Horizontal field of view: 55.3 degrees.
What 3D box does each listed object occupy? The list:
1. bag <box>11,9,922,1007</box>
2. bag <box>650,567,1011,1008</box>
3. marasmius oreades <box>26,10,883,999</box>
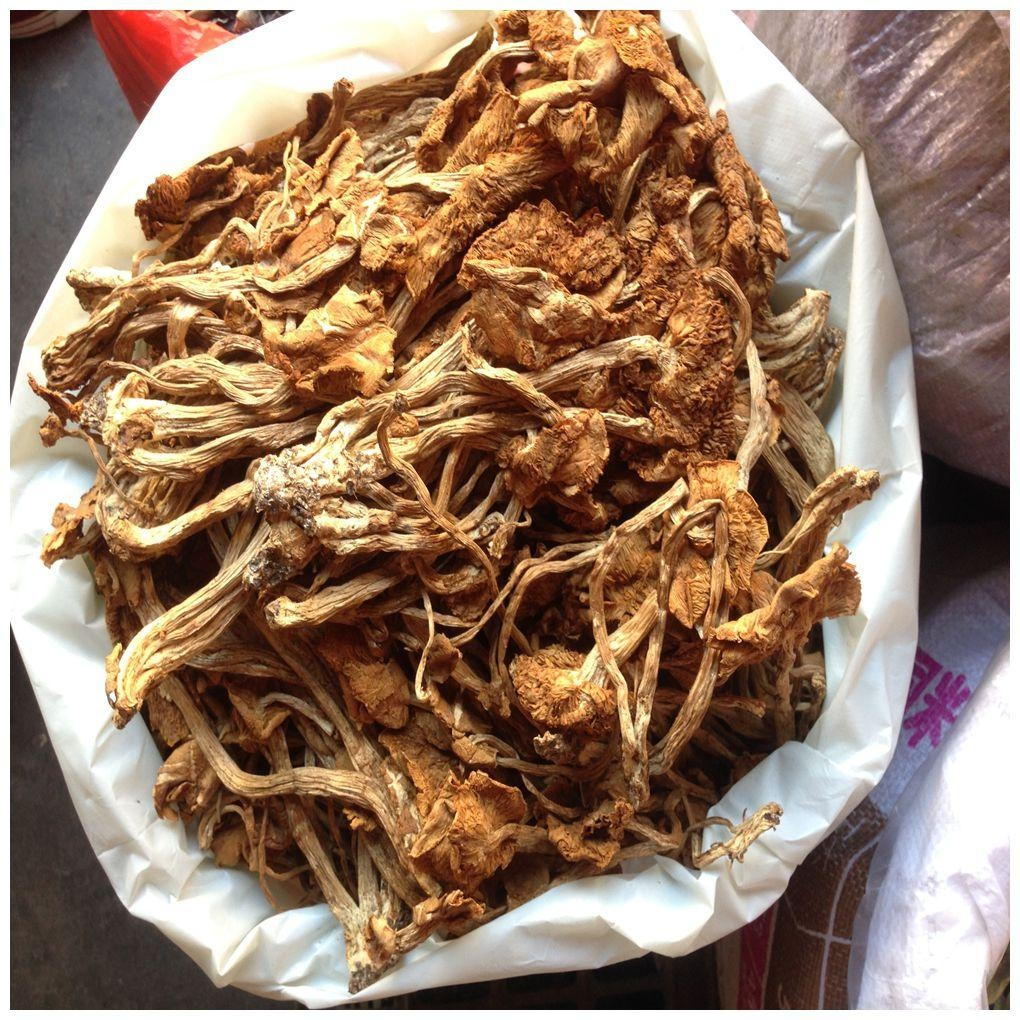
[{"bbox_3d":[-0.013,-0.010,0.917,0.845,0.353,1.095,-1,93,-1],"label":"bag"},{"bbox_3d":[0.421,0.359,1.080,0.340,0.161,0.503,26,113,32],"label":"bag"},{"bbox_3d":[-0.044,0.287,1.239,0.533,1.412,0.592,-10,50,-9],"label":"marasmius oreades"}]
